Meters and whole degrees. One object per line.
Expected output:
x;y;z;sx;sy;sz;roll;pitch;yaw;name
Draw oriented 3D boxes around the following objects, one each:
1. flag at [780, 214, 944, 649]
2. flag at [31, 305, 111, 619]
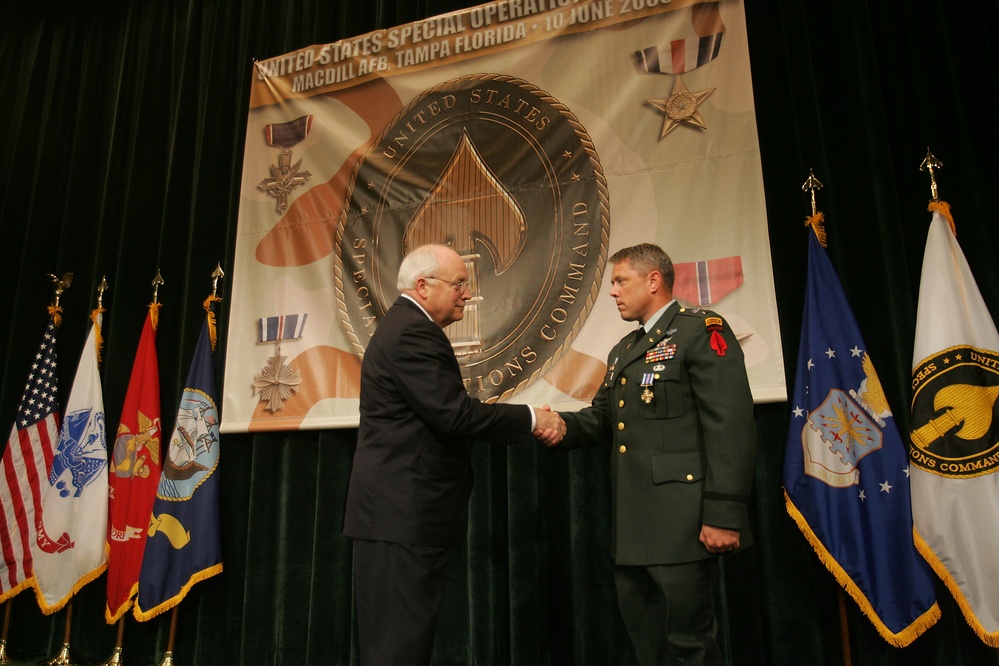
1.743;0.367;5.412;0.715;2.377;0.205;2;-32;-1;flag
-2.382;0.704;6.081;0.428;1.694;0.133;-2;-10;10;flag
